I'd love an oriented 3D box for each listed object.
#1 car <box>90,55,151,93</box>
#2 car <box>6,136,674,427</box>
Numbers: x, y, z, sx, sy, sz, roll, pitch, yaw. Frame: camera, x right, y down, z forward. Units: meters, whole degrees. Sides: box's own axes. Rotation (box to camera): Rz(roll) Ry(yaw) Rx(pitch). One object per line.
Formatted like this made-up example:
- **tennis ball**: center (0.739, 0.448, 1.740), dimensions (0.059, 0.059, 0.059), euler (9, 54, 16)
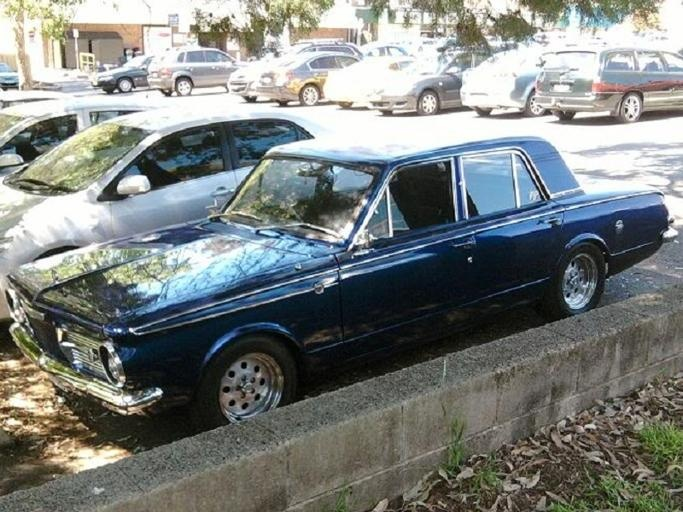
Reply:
- **car**: center (-12.514, -10.515, 30.963), dimensions (1.641, 2.186, 2.825), euler (5, 16, 30)
- **car**: center (0.508, -0.124, 4.896), dimensions (5.862, 1.369, 2.395), euler (-10, 15, -26)
